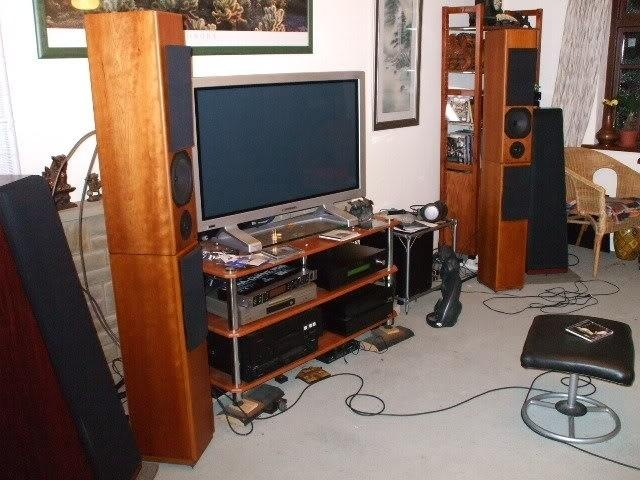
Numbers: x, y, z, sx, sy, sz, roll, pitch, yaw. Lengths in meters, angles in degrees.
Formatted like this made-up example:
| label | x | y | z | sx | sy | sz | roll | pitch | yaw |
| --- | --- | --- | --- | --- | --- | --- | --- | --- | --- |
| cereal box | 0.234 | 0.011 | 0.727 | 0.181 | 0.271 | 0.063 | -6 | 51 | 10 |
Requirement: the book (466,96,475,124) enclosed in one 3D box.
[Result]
| label | x | y | z | sx | sy | sz | roll | pitch | yaw |
| --- | --- | --- | --- | --- | --- | --- | --- | --- | --- |
| book | 1.237 | -1.062 | 4.121 | 0.038 | 0.161 | 0.115 | 2 | 5 | -15 |

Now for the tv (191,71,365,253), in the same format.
| label | x | y | z | sx | sy | sz | roll | pitch | yaw |
| --- | --- | --- | --- | --- | --- | --- | --- | --- | --- |
| tv | -0.202 | -0.496 | 2.901 | 1.261 | 0.897 | 0.384 | -17 | 24 | -39 |

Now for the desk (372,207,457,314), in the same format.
| label | x | y | z | sx | sy | sz | roll | pitch | yaw |
| --- | --- | --- | --- | --- | --- | --- | --- | --- | --- |
| desk | 0.677 | 0.037 | 3.927 | 0.625 | 0.821 | 0.824 | 12 | 22 | 37 |

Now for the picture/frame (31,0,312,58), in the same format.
| label | x | y | z | sx | sy | sz | roll | pitch | yaw |
| --- | --- | --- | --- | --- | --- | --- | --- | --- | --- |
| picture/frame | -0.761 | -1.044 | 2.474 | 0.793 | 0.261 | 0.020 | -21 | 27 | -36 |

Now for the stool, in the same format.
| label | x | y | z | sx | sy | sz | roll | pitch | yaw |
| --- | --- | --- | --- | --- | --- | --- | --- | --- | --- |
| stool | 1.294 | 0.689 | 2.551 | 0.465 | 0.484 | 0.529 | 8 | 24 | 29 |

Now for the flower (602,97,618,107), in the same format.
| label | x | y | z | sx | sy | sz | roll | pitch | yaw |
| --- | --- | --- | --- | --- | --- | --- | --- | --- | --- |
| flower | 2.694 | -1.275 | 4.671 | 0.131 | 0.060 | 0.131 | -7 | 14 | -28 |

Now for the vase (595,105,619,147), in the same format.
| label | x | y | z | sx | sy | sz | roll | pitch | yaw |
| --- | --- | --- | --- | --- | --- | --- | --- | --- | --- |
| vase | 2.741 | -1.075 | 4.772 | 0.184 | 0.379 | 0.201 | -3 | 21 | 2 |

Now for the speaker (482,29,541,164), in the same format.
| label | x | y | z | sx | sy | sz | roll | pitch | yaw |
| --- | --- | --- | --- | --- | --- | --- | --- | --- | --- |
| speaker | 1.419 | -1.080 | 3.796 | 0.381 | 0.966 | 0.388 | 3 | 22 | 18 |

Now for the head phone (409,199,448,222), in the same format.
| label | x | y | z | sx | sy | sz | roll | pitch | yaw |
| --- | --- | --- | --- | --- | --- | --- | --- | --- | --- |
| head phone | 0.813 | -0.227 | 3.820 | 0.235 | 0.111 | 0.169 | 4 | 16 | 26 |

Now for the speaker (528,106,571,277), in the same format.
| label | x | y | z | sx | sy | sz | roll | pitch | yaw |
| --- | --- | --- | --- | --- | --- | --- | --- | --- | --- |
| speaker | 1.841 | -0.408 | 4.069 | 0.320 | 1.241 | 0.333 | -2 | 21 | 5 |

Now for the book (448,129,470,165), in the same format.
| label | x | y | z | sx | sy | sz | roll | pitch | yaw |
| --- | --- | --- | --- | --- | --- | --- | --- | --- | --- |
| book | 1.182 | -0.781 | 4.258 | 0.260 | 0.261 | 0.193 | 1 | 12 | 43 |

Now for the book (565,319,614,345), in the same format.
| label | x | y | z | sx | sy | sz | roll | pitch | yaw |
| --- | --- | --- | --- | --- | --- | --- | --- | --- | --- |
| book | 1.344 | 0.460 | 2.499 | 0.216 | 0.029 | 0.276 | -4 | 10 | 9 |

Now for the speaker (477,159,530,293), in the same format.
| label | x | y | z | sx | sy | sz | roll | pitch | yaw |
| --- | --- | --- | --- | --- | --- | --- | --- | --- | --- |
| speaker | 1.434 | -0.112 | 3.959 | 0.382 | 0.999 | 0.360 | 6 | 23 | 24 |

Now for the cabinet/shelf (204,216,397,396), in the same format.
| label | x | y | z | sx | sy | sz | roll | pitch | yaw |
| --- | --- | --- | --- | --- | --- | --- | --- | --- | --- |
| cabinet/shelf | -0.094 | 0.314 | 3.026 | 0.424 | 0.682 | 1.365 | 11 | 20 | 42 |
